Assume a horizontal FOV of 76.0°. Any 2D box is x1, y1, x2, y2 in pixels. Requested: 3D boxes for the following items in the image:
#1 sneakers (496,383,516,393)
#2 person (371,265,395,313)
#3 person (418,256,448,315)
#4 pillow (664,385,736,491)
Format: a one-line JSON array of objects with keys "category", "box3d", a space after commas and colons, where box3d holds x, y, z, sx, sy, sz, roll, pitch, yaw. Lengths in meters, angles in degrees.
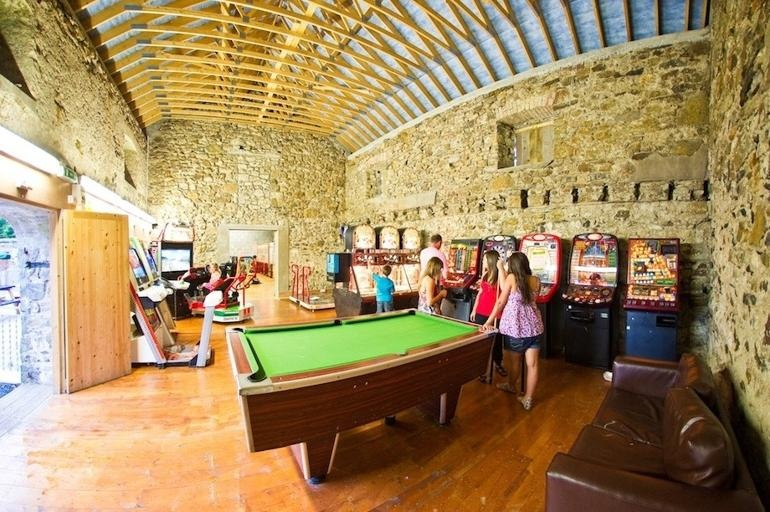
[{"category": "sneakers", "box3d": [1.664, 1.823, 6.783, 0.260, 0.107, 0.095, 14, 6, 36]}, {"category": "person", "box3d": [-0.027, 0.660, 8.120, 0.359, 0.982, 0.290, 3, 16, 7]}, {"category": "person", "box3d": [0.706, 0.432, 7.165, 0.373, 0.715, 0.443, -1, 0, -14]}, {"category": "pillow", "box3d": [2.991, 1.986, 4.852, 0.589, 0.464, 1.311, 1, 27, 26]}]
